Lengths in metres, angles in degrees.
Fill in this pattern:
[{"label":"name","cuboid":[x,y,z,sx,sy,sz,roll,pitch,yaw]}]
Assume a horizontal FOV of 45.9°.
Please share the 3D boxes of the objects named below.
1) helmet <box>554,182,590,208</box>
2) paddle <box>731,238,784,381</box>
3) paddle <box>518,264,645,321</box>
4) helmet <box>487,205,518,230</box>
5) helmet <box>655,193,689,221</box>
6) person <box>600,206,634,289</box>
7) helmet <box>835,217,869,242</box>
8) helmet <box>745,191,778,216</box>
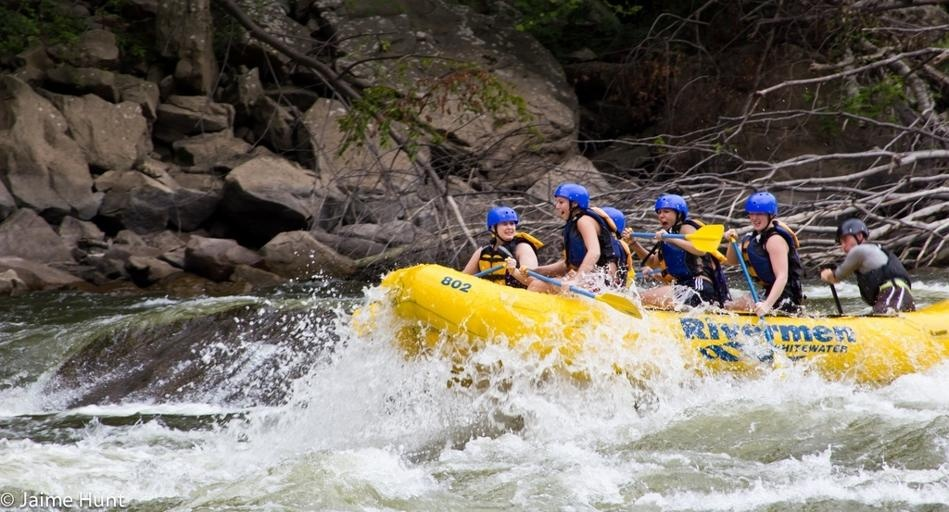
[{"label":"helmet","cuboid":[1.816,-1.163,20.636,0.614,0.434,0.443,-4,15,-17]},{"label":"paddle","cuboid":[5.085,1.015,20.414,0.588,2.980,0.236,-20,-11,5]},{"label":"paddle","cuboid":[1.854,0.683,20.135,2.147,0.301,0.253,21,-29,29]},{"label":"helmet","cuboid":[0.430,-0.734,20.803,0.429,0.364,0.529,-8,11,-19]},{"label":"helmet","cuboid":[3.667,-0.948,21.162,0.611,0.433,0.450,-13,11,-12]},{"label":"person","cuboid":[2.703,-0.156,20.818,0.517,1.301,1.002,-9,4,-16]},{"label":"helmet","cuboid":[7.047,-0.508,21.001,0.507,0.384,0.376,-11,3,5]},{"label":"helmet","cuboid":[5.321,-0.995,20.686,0.528,0.418,0.455,-3,6,-43]}]
